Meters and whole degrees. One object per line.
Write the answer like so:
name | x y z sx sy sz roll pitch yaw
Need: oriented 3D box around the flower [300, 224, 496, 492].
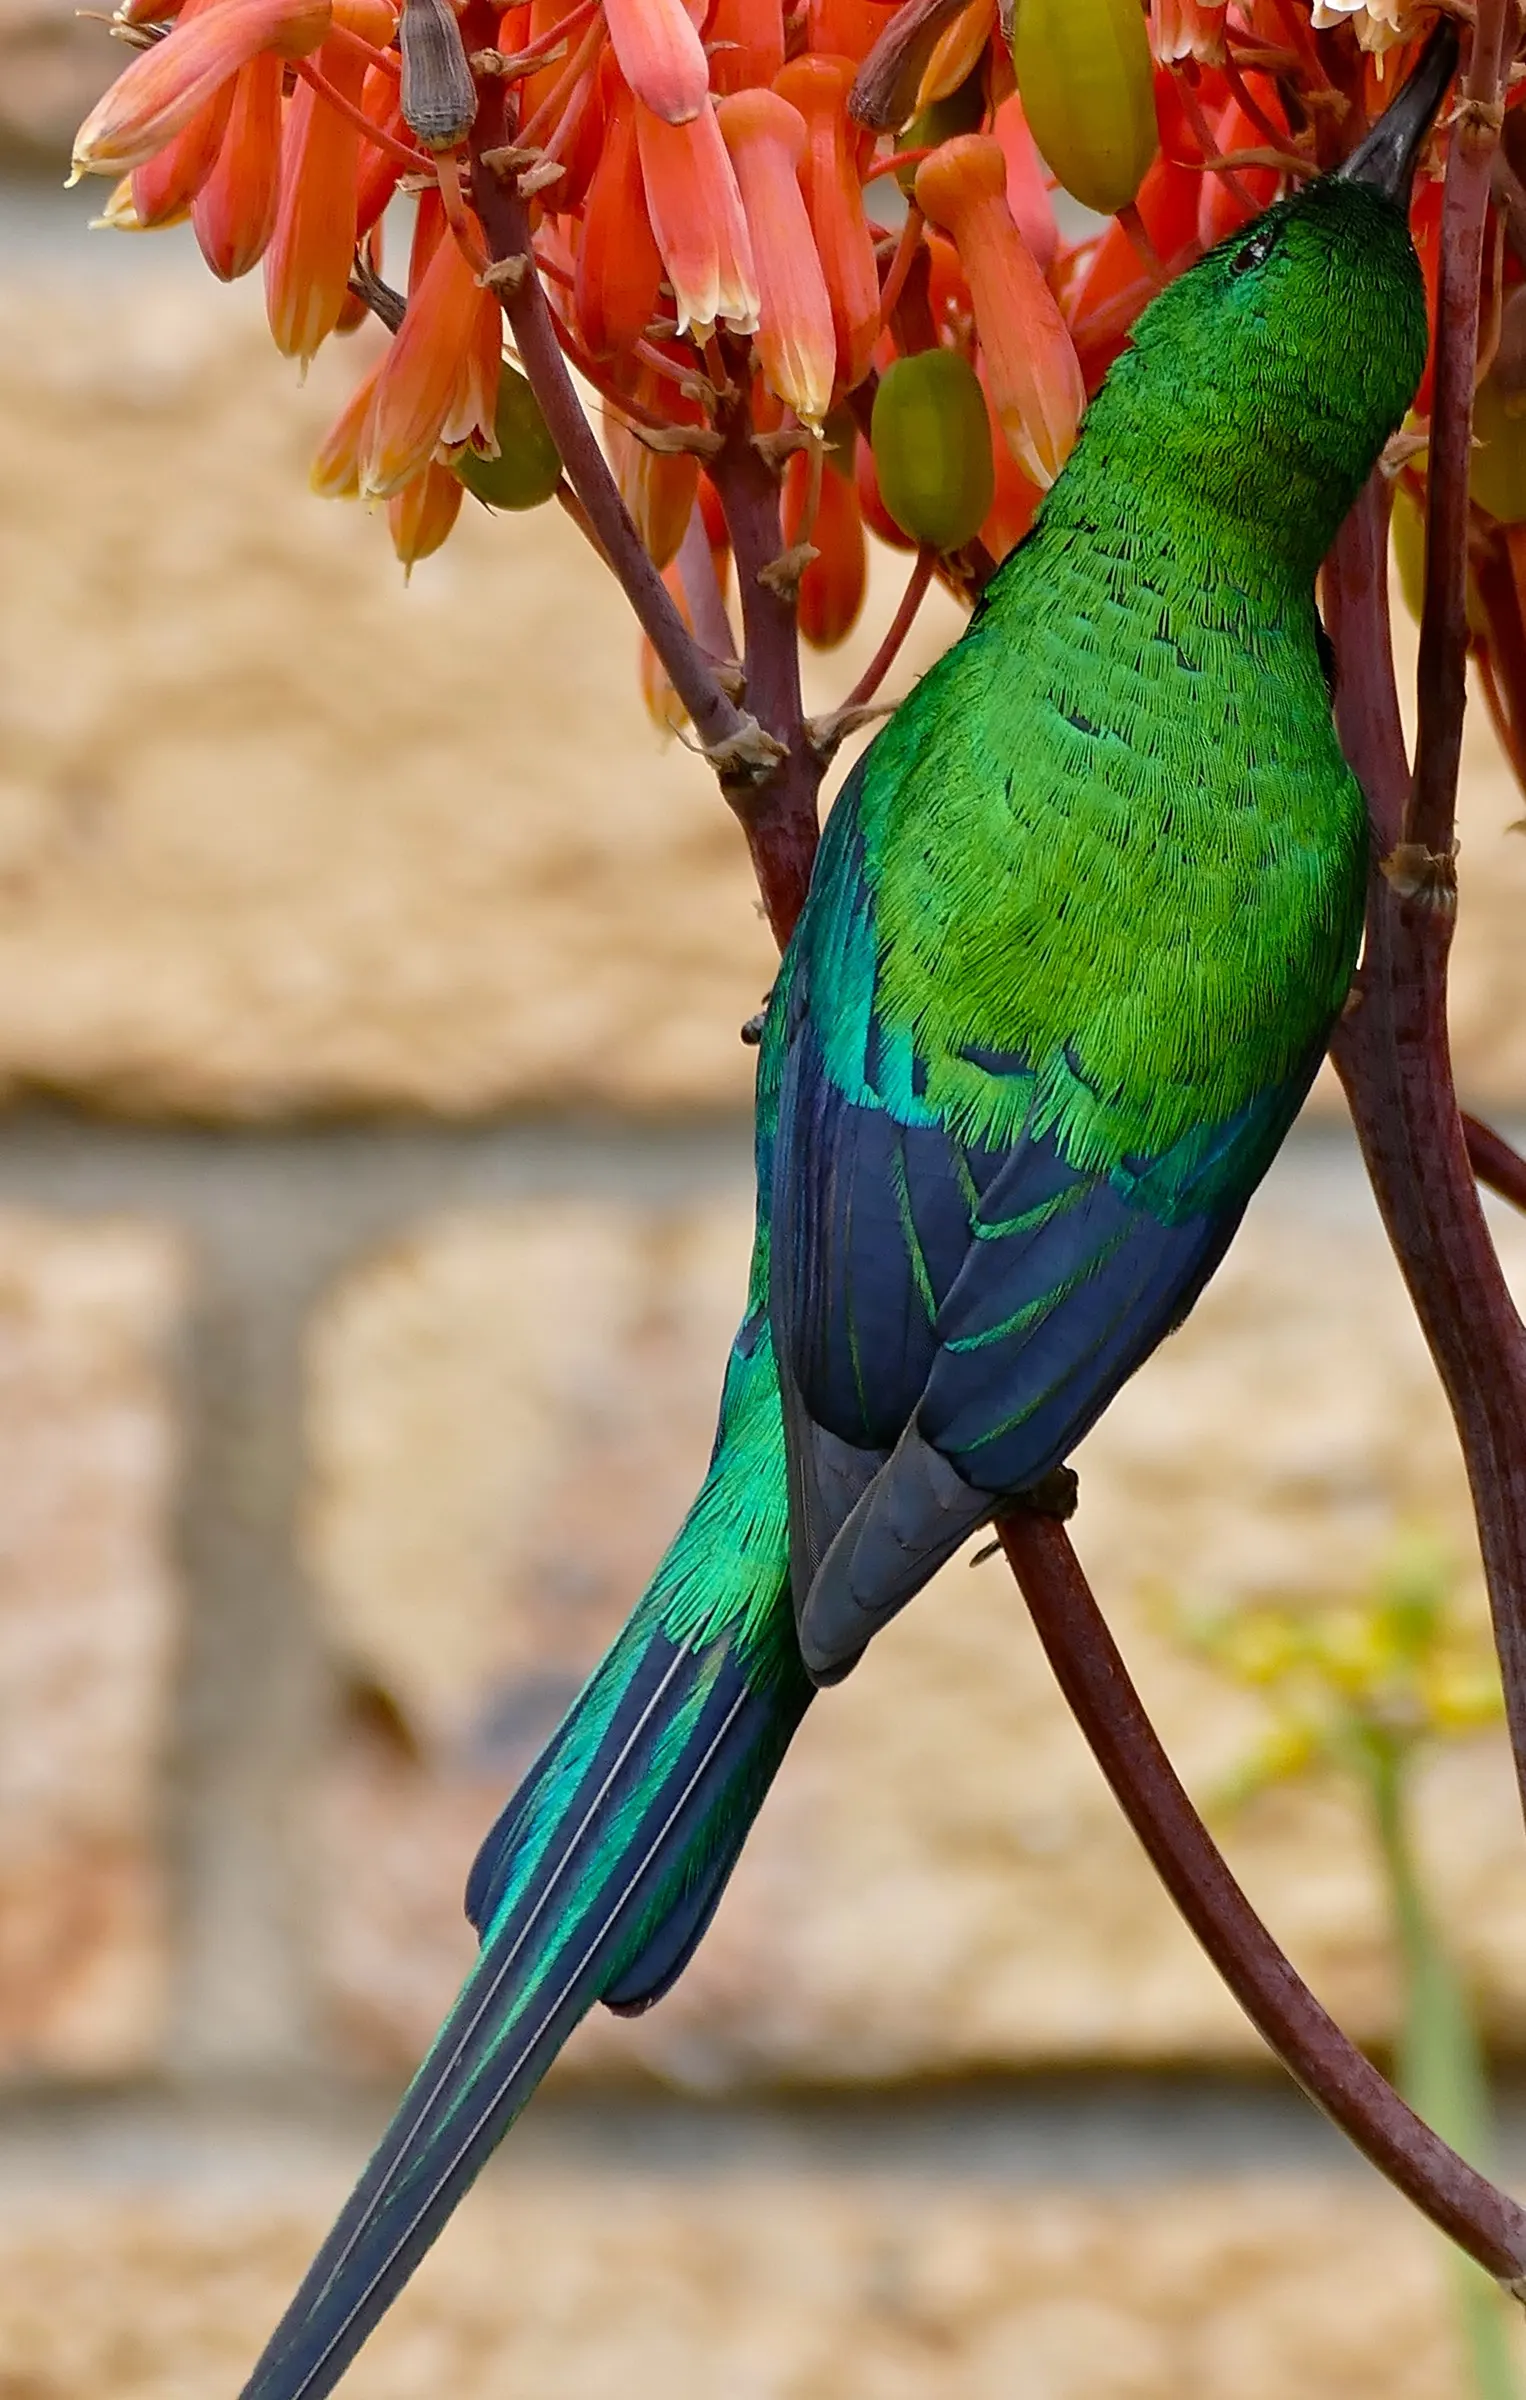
flower | -0.072 -0.182 0.769 0.028 0.058 0.029 10 8 -6

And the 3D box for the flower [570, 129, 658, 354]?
flower | -0.029 -0.205 0.745 0.018 0.050 0.025 9 8 -10
